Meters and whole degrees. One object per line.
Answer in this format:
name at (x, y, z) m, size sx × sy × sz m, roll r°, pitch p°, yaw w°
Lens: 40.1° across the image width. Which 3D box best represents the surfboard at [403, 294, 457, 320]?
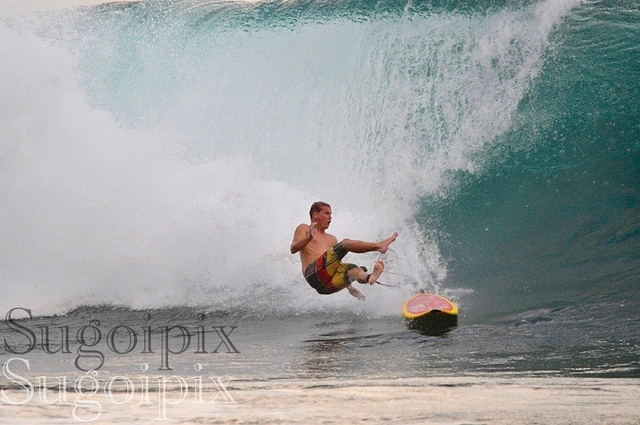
surfboard at (1.978, 1.669, 15.861) m, size 0.954 × 0.419 × 0.613 m, roll 2°, pitch 54°, yaw -3°
